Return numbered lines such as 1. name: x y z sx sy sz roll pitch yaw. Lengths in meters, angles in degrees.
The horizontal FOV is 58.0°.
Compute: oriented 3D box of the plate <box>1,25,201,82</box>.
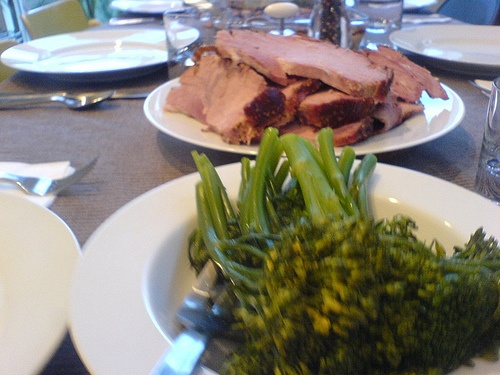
1. plate: -0.558 -0.516 1.747 0.444 0.053 0.440 -16 30 -27
